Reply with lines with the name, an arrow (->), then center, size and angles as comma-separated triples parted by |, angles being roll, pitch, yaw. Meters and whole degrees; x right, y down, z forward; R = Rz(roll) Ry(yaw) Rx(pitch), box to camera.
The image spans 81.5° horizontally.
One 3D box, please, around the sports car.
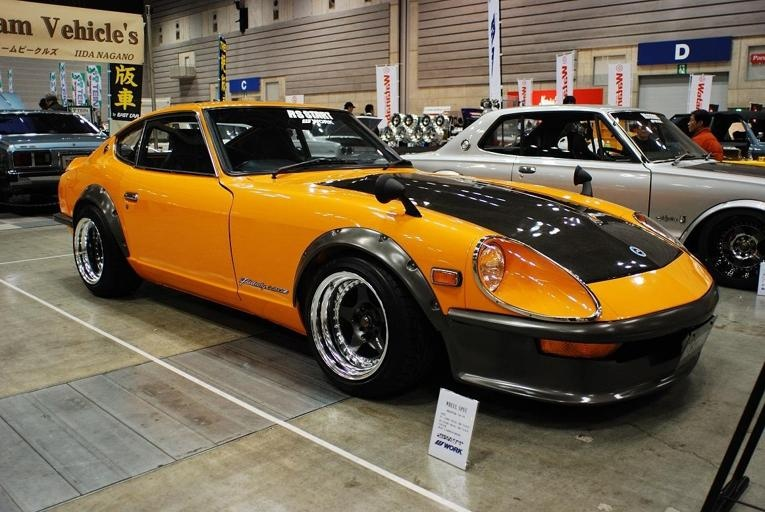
sports car -> -0.504, -0.105, 3.379 | 4.818, 1.086, 2.236 | 9, 15, 30
